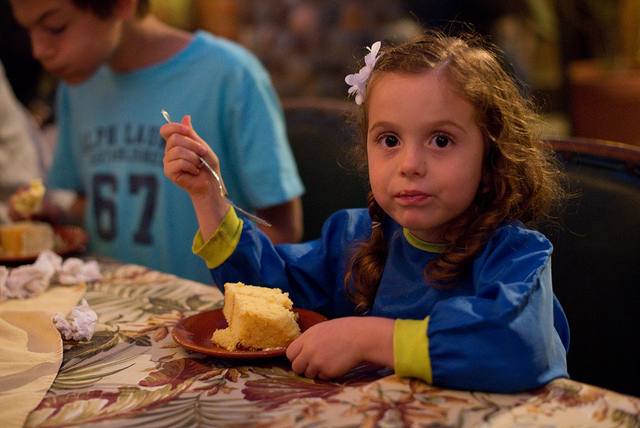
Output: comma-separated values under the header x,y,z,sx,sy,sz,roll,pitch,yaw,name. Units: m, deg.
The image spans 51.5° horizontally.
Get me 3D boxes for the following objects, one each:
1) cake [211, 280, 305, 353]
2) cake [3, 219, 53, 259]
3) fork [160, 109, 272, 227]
x,y,z,sx,sy,sz,roll,pitch,yaw,name
-0.149,0.232,1.540,0.156,0.057,0.168,6,11,8,cake
-0.922,0.076,2.095,0.138,0.097,0.143,-1,1,-22,cake
-0.310,-0.161,2.062,0.466,0.069,0.069,54,31,12,fork
